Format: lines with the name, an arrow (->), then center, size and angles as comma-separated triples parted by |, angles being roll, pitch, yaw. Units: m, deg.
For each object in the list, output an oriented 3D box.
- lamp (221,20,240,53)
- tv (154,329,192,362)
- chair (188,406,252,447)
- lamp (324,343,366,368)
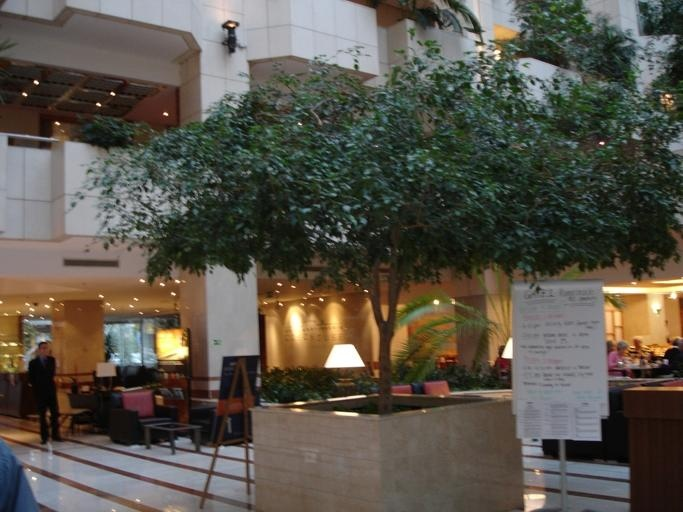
lamp -> -2.545, -5.054, 15.779 | 0.457, 0.692, 0.422 | 0, 8, -40
tv -> -4.243, 2.227, 17.022 | 0.126, 0.821, 1.199 | -6, -7, 31
chair -> -2.223, 3.078, 12.309 | 0.953, 0.639, 0.968 | 5, -8, -39
lamp -> -0.010, 1.616, 10.870 | 0.695, 0.345, 0.700 | -4, -4, 19
